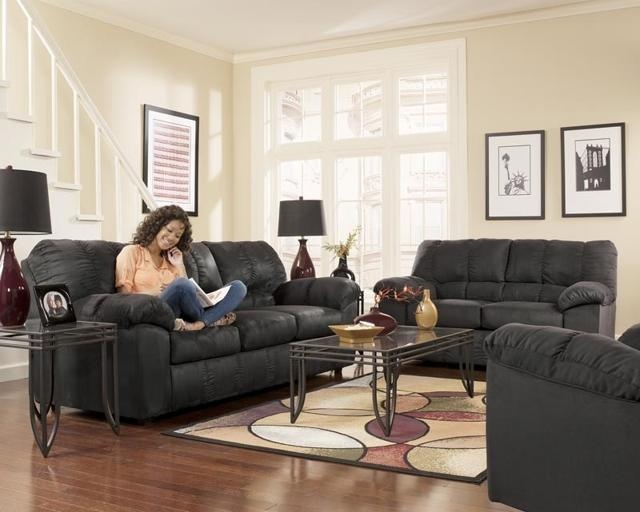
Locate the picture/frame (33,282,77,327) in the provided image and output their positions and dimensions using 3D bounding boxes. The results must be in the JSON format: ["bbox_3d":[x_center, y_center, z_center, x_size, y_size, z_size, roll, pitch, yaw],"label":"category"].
[{"bbox_3d":[-1.393,0.253,2.892,0.037,0.237,0.263,-24,-10,24],"label":"picture/frame"}]

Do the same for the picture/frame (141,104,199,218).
[{"bbox_3d":[-1.768,-1.112,6.560,0.124,0.992,0.817,-1,0,31],"label":"picture/frame"}]

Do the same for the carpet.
[{"bbox_3d":[0.239,0.796,3.095,1.454,0.216,1.608,-1,0,20],"label":"carpet"}]

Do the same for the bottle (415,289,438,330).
[{"bbox_3d":[0.700,0.353,3.676,0.136,0.254,0.273,-1,0,9],"label":"bottle"}]

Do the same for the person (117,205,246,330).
[{"bbox_3d":[-0.933,0.087,3.599,0.767,0.721,0.634,7,4,19],"label":"person"}]
